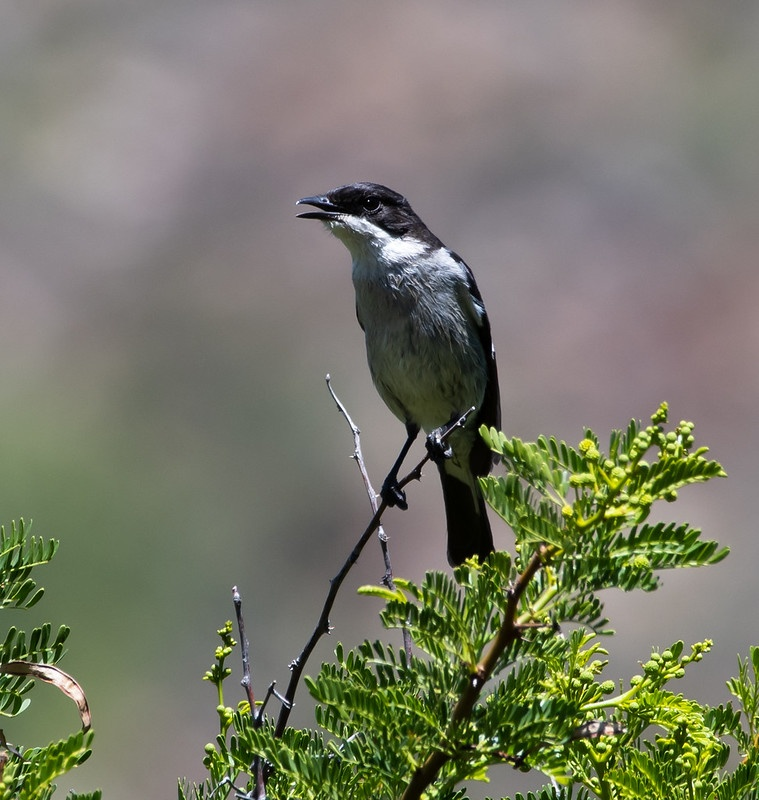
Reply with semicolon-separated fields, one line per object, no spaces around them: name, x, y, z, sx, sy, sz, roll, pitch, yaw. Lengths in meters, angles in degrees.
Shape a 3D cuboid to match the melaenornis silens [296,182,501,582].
melaenornis silens;0.135;-0.096;3.762;0.348;0.843;1.147;-16;-60;29
